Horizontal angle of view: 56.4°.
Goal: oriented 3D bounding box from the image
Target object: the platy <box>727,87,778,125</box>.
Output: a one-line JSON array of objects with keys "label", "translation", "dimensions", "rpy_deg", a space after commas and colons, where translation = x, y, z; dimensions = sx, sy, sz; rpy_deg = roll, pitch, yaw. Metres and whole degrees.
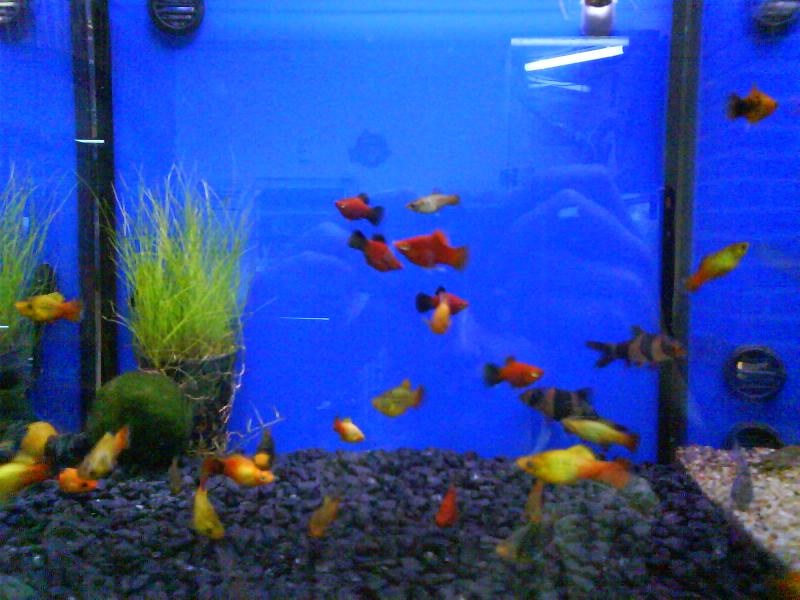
[{"label": "platy", "translation": [1.458, -0.800, 3.071], "dimensions": [0.188, 0.138, 0.039], "rpy_deg": [0, 1, 13]}]
